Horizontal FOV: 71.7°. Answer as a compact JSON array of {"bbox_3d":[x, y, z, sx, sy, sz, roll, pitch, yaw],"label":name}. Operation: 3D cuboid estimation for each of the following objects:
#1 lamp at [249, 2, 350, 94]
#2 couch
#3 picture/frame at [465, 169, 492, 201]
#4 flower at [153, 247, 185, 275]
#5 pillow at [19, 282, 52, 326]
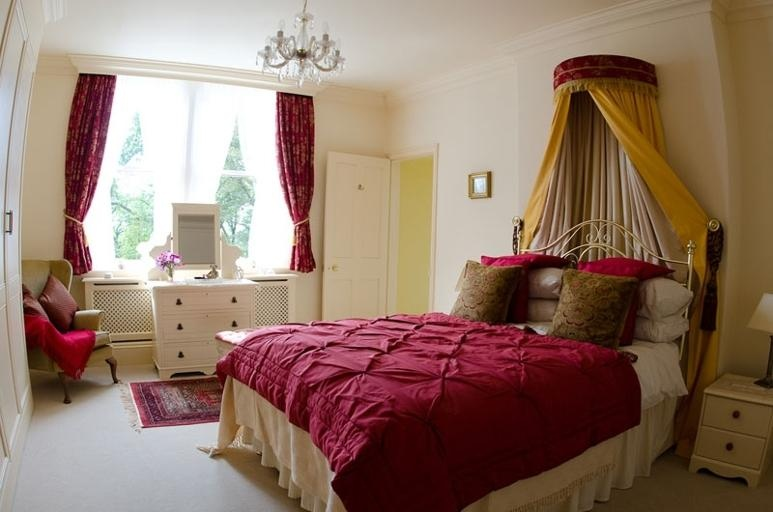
[{"bbox_3d":[-0.829,-1.965,4.940,0.750,1.080,0.772,2,-7,-2],"label":"lamp"},{"bbox_3d":[-3.284,0.621,5.286,1.015,1.186,0.852,6,8,37],"label":"couch"},{"bbox_3d":[1.038,-0.794,5.924,0.098,0.358,0.364,2,-2,-33],"label":"picture/frame"},{"bbox_3d":[-2.460,0.041,5.951,0.275,0.286,0.274,8,3,-40],"label":"flower"},{"bbox_3d":[-3.412,0.455,5.157,0.185,0.323,0.458,-7,15,-33],"label":"pillow"}]
